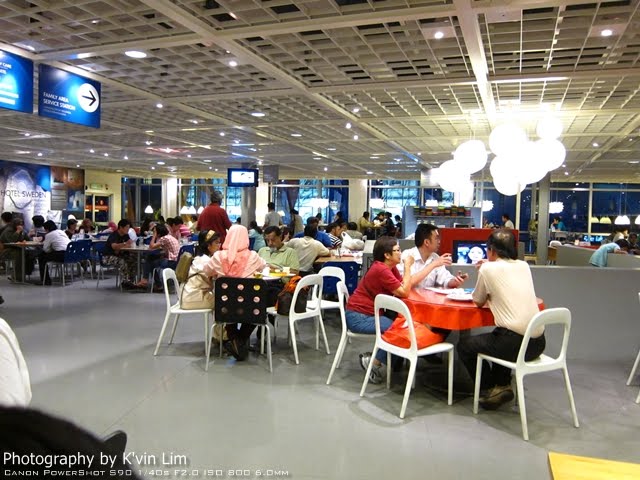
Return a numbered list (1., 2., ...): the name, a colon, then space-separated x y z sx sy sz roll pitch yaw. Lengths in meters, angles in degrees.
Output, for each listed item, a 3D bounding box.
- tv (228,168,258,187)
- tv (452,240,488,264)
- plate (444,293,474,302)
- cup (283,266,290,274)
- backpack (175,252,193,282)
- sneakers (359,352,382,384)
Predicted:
1. tv: -2.464 -2.029 14.413 1.152 0.552 0.693 -4 3 6
2. tv: 1.805 0.138 5.325 0.319 0.201 0.041 1 -3 6
3. plate: 1.246 0.502 4.006 0.212 0.048 0.286 2 4 13
4. cup: -0.419 0.385 5.651 0.069 0.067 0.074 2 5 0
5. backpack: -1.778 0.354 5.862 0.185 0.433 0.343 18 7 -19
6. sneakers: 0.502 1.259 4.394 0.194 0.358 0.131 -8 -7 5
